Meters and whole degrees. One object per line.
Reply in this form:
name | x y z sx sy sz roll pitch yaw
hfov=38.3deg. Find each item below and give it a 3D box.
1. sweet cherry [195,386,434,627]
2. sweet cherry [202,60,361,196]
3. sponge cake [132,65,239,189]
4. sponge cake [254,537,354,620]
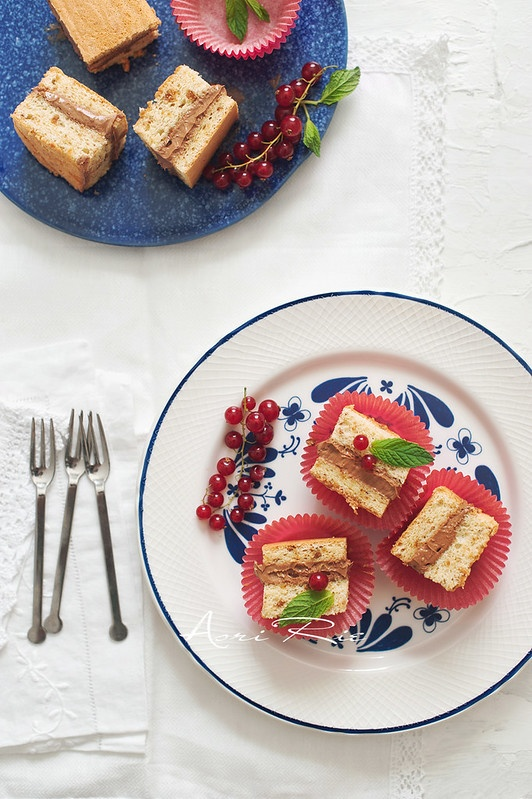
sweet cherry | 0.190 0.249 2.227 0.538 0.659 0.523 -26 45 -23
sweet cherry | 0.035 -0.715 2.050 0.197 0.188 0.575 40 82 9
sponge cake | -0.218 -0.737 2.049 0.204 0.144 0.243 37 87 9
sponge cake | 0.096 0.465 1.945 0.244 0.173 0.211 -6 82 5
